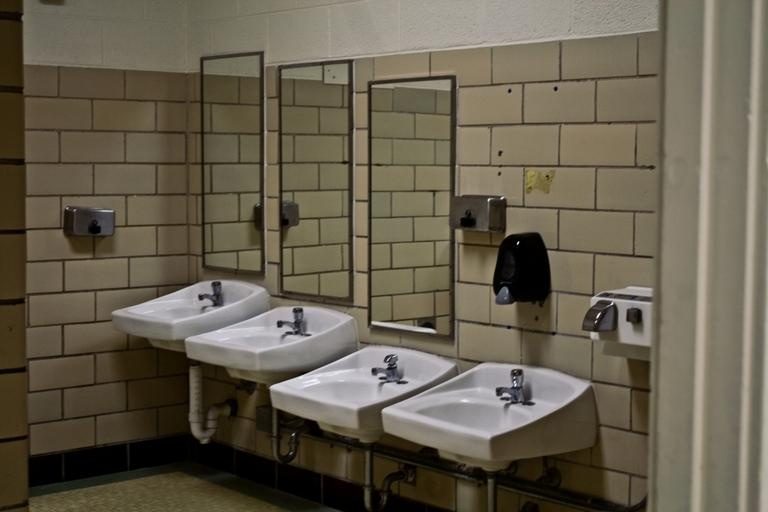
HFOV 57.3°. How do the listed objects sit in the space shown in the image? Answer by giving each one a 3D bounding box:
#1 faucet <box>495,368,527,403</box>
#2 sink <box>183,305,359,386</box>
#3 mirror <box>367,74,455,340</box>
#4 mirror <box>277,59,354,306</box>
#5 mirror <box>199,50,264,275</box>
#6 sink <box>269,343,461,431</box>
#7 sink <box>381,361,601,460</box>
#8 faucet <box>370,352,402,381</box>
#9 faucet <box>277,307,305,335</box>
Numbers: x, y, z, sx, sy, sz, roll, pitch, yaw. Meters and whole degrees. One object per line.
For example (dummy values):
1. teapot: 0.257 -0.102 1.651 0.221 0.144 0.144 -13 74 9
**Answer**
1. faucet: 0.520 0.523 2.815 0.177 0.134 0.056 2 1 -40
2. sink: -0.489 0.426 3.392 0.544 0.239 0.562 -8 6 -44
3. mirror: 0.132 -0.253 3.227 0.451 1.114 0.025 2 -6 -22
4. mirror: -0.336 -0.514 3.618 0.399 0.982 0.020 -1 -18 -8
5. mirror: -0.876 -0.524 4.018 0.546 1.226 0.089 6 11 38
6. sink: -0.111 0.571 3.060 0.477 0.200 0.503 5 10 44
7. sink: 0.417 0.616 2.695 0.616 0.260 0.609 6 11 38
8. faucet: 0.013 0.506 3.202 0.136 0.094 0.103 3 -2 -43
9. faucet: -0.483 0.328 3.654 0.180 0.140 0.127 3 1 42
